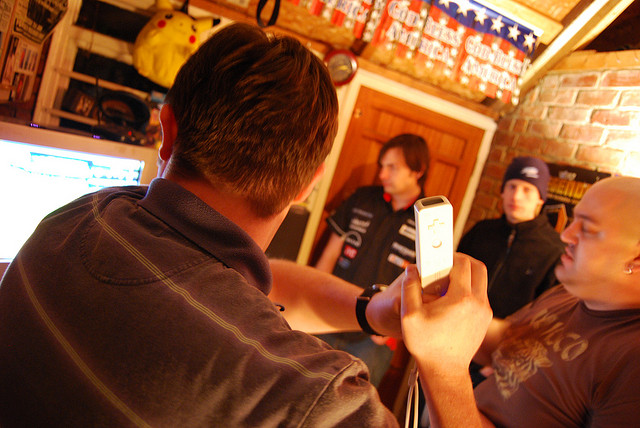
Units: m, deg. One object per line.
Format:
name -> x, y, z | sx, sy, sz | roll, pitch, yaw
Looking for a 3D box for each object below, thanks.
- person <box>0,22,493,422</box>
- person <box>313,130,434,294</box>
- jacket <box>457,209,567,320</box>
person -> -0.179, 0.089, 1.430 | 1.251, 0.849, 0.940 | 12, 8, -33
person -> 0.409, 0.178, 3.452 | 0.800, 0.474, 1.777 | 8, -31, -1
jacket -> 1.040, 0.263, 2.487 | 0.182, 0.467, 0.495 | 16, 5, -39
